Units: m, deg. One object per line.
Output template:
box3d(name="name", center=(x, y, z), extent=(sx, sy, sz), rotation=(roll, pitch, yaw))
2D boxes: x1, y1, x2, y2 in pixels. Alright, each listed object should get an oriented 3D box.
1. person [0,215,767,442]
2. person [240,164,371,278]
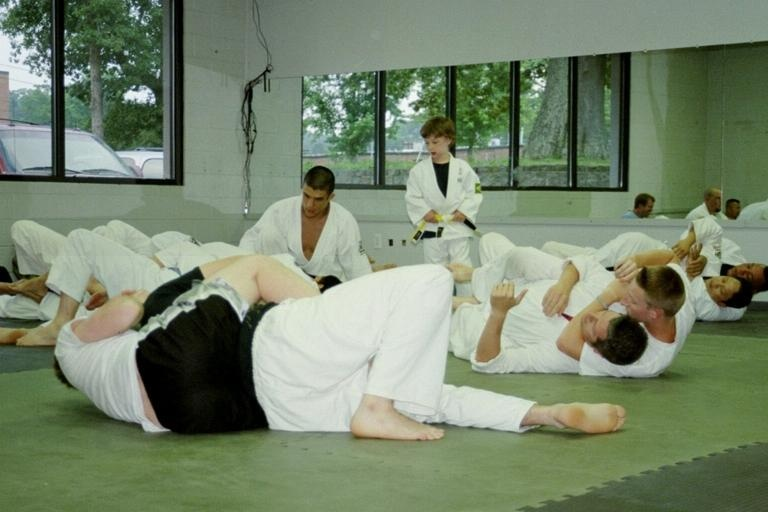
box3d(name="person", center=(-0.107, 0.360, 3.713), extent=(2.637, 0.853, 1.078), rotation=(0, -1, 8))
box3d(name="person", center=(-0.612, -0.222, 6.133), extent=(1.189, 0.956, 0.658), rotation=(9, 21, 6))
